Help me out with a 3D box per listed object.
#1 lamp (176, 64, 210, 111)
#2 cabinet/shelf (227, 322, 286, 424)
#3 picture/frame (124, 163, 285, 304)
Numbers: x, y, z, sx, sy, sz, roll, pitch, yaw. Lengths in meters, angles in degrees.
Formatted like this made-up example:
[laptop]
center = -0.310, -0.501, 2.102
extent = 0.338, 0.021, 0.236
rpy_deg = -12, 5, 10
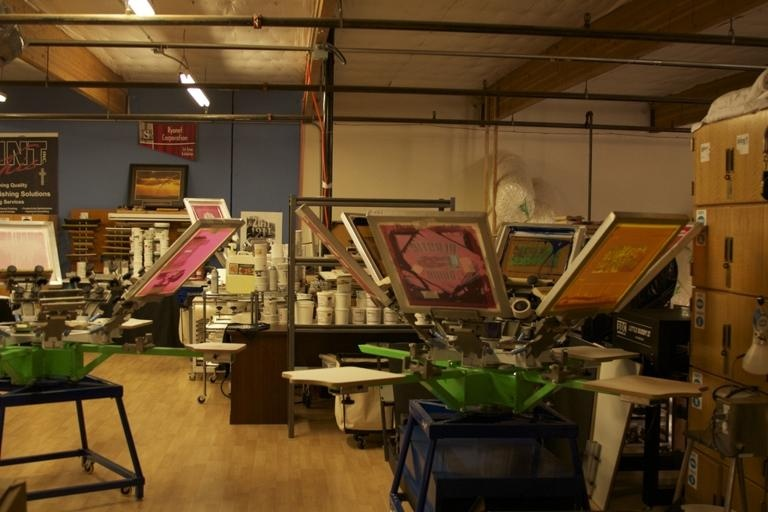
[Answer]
[lamp]
center = -2.952, -2.632, 10.832
extent = 0.293, 0.101, 0.856
rpy_deg = 10, -21, -6
[cabinet/shelf]
center = -1.307, 1.242, 7.291
extent = 0.770, 0.979, 1.101
rpy_deg = 1, -1, -3
[picture/frame]
center = -1.943, -0.245, 6.271
extent = 1.585, 1.313, 1.210
rpy_deg = 5, 4, 22
